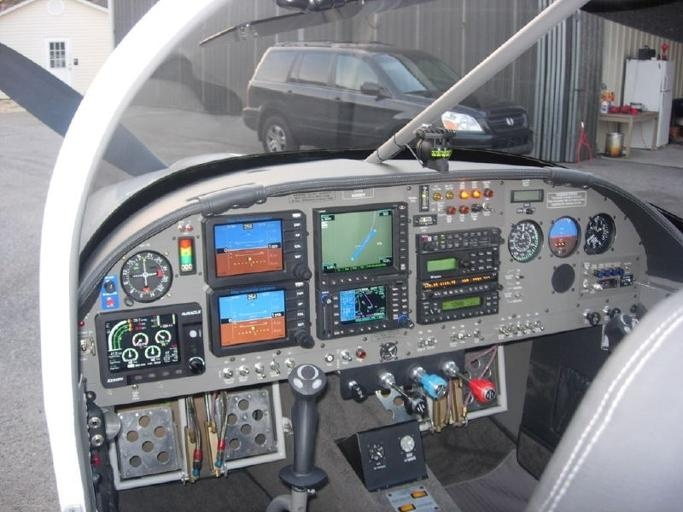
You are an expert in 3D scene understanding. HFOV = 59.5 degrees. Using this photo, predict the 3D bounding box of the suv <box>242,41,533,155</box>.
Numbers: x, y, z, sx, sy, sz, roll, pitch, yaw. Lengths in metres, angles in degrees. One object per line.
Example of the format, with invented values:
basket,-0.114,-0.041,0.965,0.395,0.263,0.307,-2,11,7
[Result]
suv,0.165,-1.585,5.882,2.822,1.346,1.452,7,18,26
